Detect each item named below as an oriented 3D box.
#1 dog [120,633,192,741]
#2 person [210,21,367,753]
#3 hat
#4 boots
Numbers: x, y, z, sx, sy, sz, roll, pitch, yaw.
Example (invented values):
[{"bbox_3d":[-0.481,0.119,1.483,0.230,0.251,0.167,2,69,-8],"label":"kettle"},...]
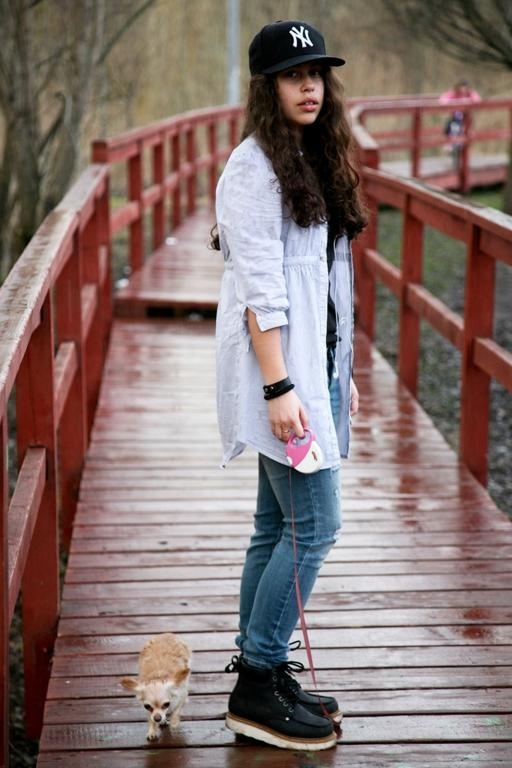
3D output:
[{"bbox_3d":[-0.196,0.587,1.876,0.090,0.123,0.217,-1,15,-2],"label":"dog"},{"bbox_3d":[0.053,0.028,1.773,0.282,1.315,0.380,2,14,6],"label":"person"},{"bbox_3d":[0.071,-0.549,1.645,0.131,0.080,0.098,3,19,40],"label":"hat"},{"bbox_3d":[0.055,0.590,1.852,0.251,0.181,0.110,3,14,7],"label":"boots"}]
